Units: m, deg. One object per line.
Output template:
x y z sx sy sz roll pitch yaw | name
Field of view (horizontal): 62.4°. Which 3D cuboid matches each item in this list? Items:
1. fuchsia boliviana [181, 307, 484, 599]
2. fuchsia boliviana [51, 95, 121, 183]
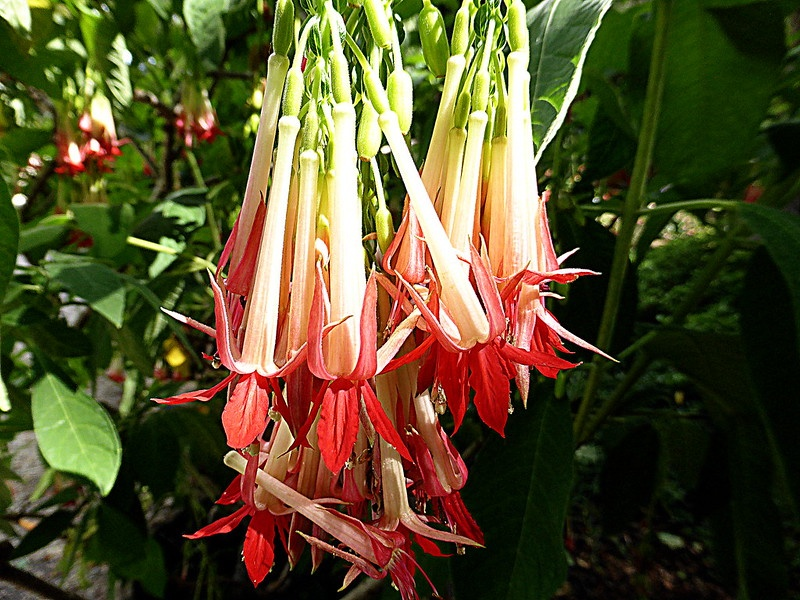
-0.086 0.114 0.839 0.274 0.453 0.261 -3 -1 -26 | fuchsia boliviana
-0.671 -0.350 1.441 0.139 0.205 0.137 17 16 39 | fuchsia boliviana
